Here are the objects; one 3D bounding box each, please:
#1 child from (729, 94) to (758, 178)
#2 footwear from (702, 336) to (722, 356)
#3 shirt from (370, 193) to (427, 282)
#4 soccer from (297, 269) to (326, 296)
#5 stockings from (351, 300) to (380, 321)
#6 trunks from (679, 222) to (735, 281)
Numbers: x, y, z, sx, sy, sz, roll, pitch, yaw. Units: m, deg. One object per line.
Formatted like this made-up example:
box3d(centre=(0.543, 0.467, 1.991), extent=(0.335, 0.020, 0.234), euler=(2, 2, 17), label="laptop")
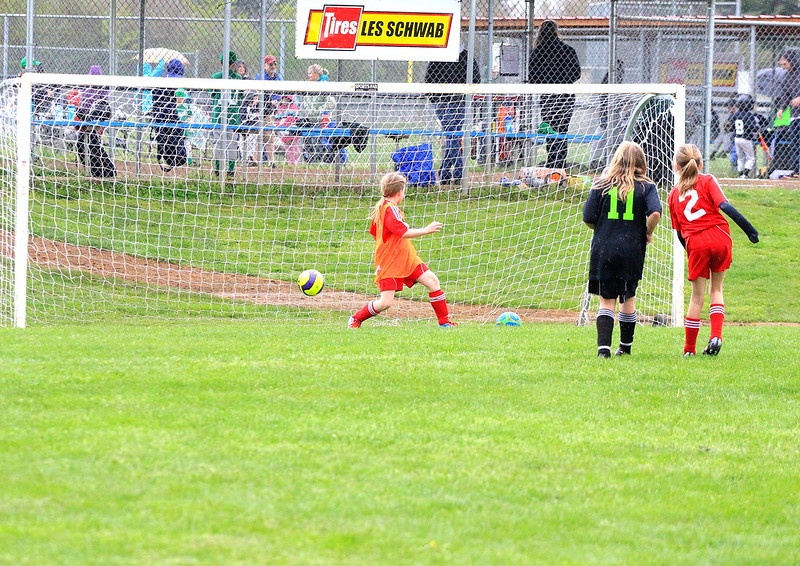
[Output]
box3d(centre=(6.020, -2.441, 20.625), extent=(0.566, 1.452, 0.450), euler=(3, -6, -11), label="child")
box3d(centre=(2.858, 0.602, 10.963), extent=(0.102, 0.211, 0.106), euler=(15, 42, 1), label="footwear")
box3d(centre=(-0.087, -0.505, 12.585), extent=(0.719, 0.947, 0.837), euler=(-4, 7, -14), label="shirt")
box3d(centre=(-0.966, 0.003, 13.239), extent=(0.238, 0.328, 0.359), euler=(1, 15, 0), label="soccer")
box3d(centre=(-0.331, 0.298, 12.472), extent=(0.187, 0.277, 0.094), euler=(21, 39, -23), label="stockings")
box3d(centre=(2.817, -0.308, 11.036), extent=(0.513, 0.487, 0.336), euler=(-11, 15, -6), label="trunks")
